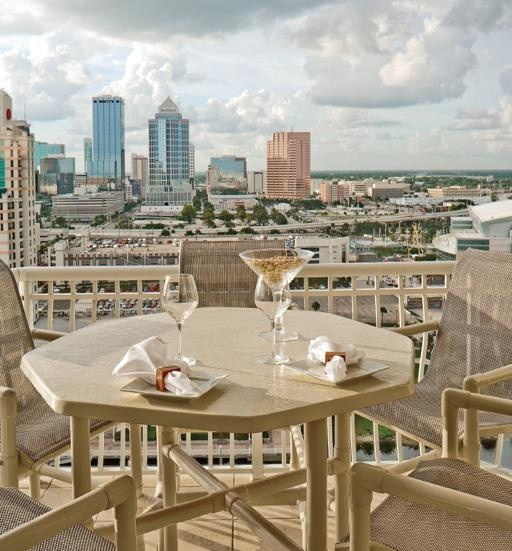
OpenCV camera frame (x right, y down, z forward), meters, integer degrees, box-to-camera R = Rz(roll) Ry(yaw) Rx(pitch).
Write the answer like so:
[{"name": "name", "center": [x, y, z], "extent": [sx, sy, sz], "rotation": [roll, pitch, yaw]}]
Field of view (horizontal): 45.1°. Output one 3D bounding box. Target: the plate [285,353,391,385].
[{"name": "plate", "center": [0.149, 0.173, 1.156], "extent": [0.138, 0.026, 0.156], "rotation": [-4, 8, -34]}]

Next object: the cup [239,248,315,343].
[{"name": "cup", "center": [0.042, 0.053, 1.392], "extent": [0.176, 0.179, 0.176], "rotation": [-3, 9, 0]}]

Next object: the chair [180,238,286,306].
[{"name": "chair", "center": [-0.075, -0.009, 2.527], "extent": [0.454, 0.292, 0.245], "rotation": [-9, 16, -7]}]

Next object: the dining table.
[{"name": "dining table", "center": [-0.042, 0.188, 1.182], "extent": [0.682, 0.345, 0.649], "rotation": [-5, 13, -24]}]

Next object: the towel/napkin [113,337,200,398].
[{"name": "towel/napkin", "center": [-0.157, 0.163, 1.070], "extent": [0.111, 0.040, 0.110], "rotation": [7, 2, -40]}]

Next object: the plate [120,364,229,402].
[{"name": "plate", "center": [-0.143, 0.185, 1.081], "extent": [0.154, 0.029, 0.136], "rotation": [3, 7, 18]}]
